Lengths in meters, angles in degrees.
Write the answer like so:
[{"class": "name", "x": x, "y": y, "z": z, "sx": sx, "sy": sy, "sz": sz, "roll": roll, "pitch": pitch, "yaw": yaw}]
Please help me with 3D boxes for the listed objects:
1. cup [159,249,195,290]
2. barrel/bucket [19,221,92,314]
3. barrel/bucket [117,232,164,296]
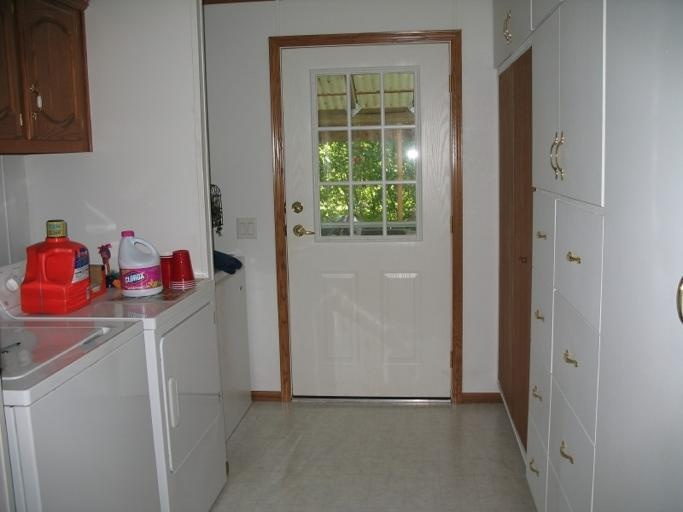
[{"class": "cup", "x": -0.743, "y": 0.063, "z": 2.473, "sx": 0.157, "sy": 0.196, "sz": 0.167, "roll": -2, "pitch": 1, "yaw": 0}, {"class": "barrel/bucket", "x": -1.209, "y": 0.036, "z": 2.240, "sx": 0.230, "sy": 0.378, "sz": 0.284, "roll": -1, "pitch": 12, "yaw": -13}, {"class": "barrel/bucket", "x": -0.922, "y": 0.037, "z": 2.394, "sx": 0.167, "sy": 0.301, "sz": 0.158, "roll": -3, "pitch": 5, "yaw": 0}]
